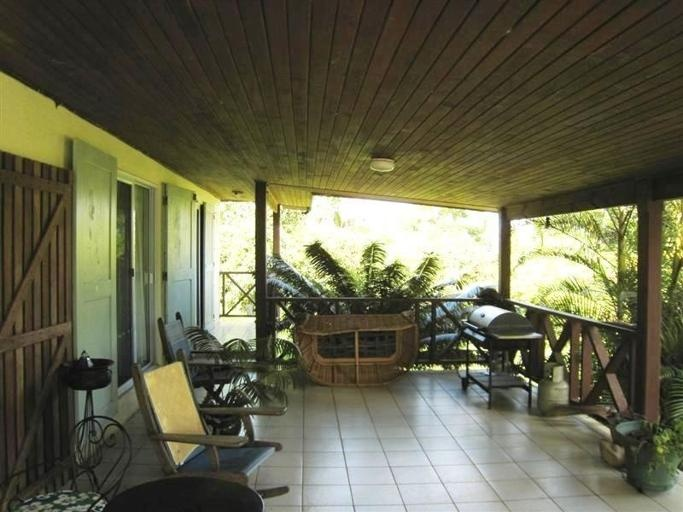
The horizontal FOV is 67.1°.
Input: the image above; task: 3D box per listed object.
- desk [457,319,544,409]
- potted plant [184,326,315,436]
[{"bbox_3d":[1.897,1.222,6.093,0.952,0.946,1.287,3,7,13],"label":"desk"},{"bbox_3d":[-1.105,1.128,5.031,1.118,0.774,1.108,-1,-7,6],"label":"potted plant"}]
